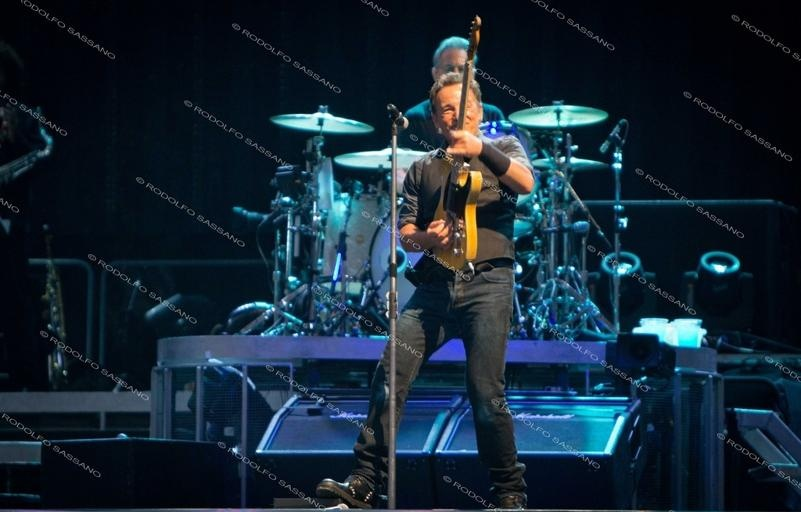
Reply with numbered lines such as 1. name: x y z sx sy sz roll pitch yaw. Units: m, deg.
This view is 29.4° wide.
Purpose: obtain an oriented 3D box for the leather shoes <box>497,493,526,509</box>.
1. leather shoes: 0.896 1.987 12.398 0.234 0.112 0.110 2 -12 -2

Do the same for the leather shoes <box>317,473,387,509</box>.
1. leather shoes: -0.406 1.896 12.380 0.599 0.268 0.213 23 -22 -10

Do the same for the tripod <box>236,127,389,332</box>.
1. tripod: -0.764 -0.237 15.086 1.362 2.250 1.088 1 0 25

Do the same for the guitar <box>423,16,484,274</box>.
1. guitar: 0.517 -0.902 12.516 0.371 2.031 0.627 4 -13 -11

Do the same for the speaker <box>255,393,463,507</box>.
1. speaker: -0.591 1.671 13.740 1.754 0.915 0.847 1 -1 -16

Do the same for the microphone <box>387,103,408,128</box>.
1. microphone: -0.027 -1.162 12.792 0.152 0.110 0.376 2 -10 15
